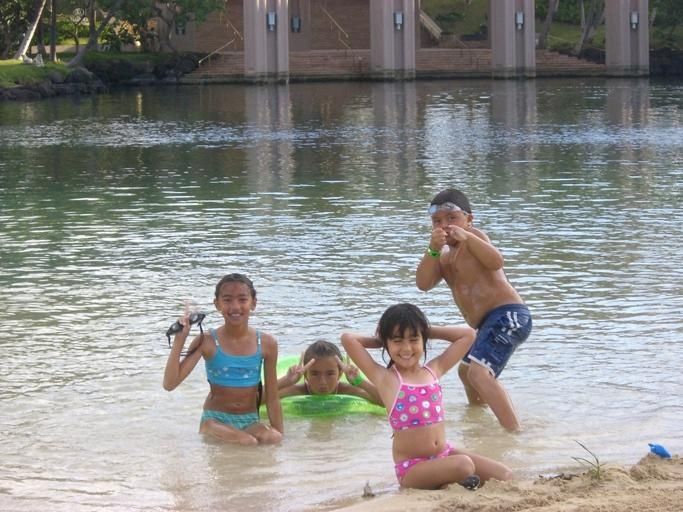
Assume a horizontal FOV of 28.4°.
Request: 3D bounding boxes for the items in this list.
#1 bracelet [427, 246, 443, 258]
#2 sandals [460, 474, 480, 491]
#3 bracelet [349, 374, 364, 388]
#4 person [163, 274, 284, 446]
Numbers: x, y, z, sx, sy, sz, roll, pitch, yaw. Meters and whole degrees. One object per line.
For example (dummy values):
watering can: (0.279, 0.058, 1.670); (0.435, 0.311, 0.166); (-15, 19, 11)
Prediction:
bracelet: (0.862, -0.048, 12.431); (0.110, 0.118, 0.145); (-3, 14, -8)
sandals: (1.127, 1.952, 11.625); (0.204, 0.112, 0.083); (-5, 14, -17)
bracelet: (0.151, 1.205, 13.022); (0.120, 0.076, 0.118); (-21, 3, -7)
person: (-1.063, 0.961, 12.382); (1.003, 1.529, 0.459); (-3, 14, -8)
